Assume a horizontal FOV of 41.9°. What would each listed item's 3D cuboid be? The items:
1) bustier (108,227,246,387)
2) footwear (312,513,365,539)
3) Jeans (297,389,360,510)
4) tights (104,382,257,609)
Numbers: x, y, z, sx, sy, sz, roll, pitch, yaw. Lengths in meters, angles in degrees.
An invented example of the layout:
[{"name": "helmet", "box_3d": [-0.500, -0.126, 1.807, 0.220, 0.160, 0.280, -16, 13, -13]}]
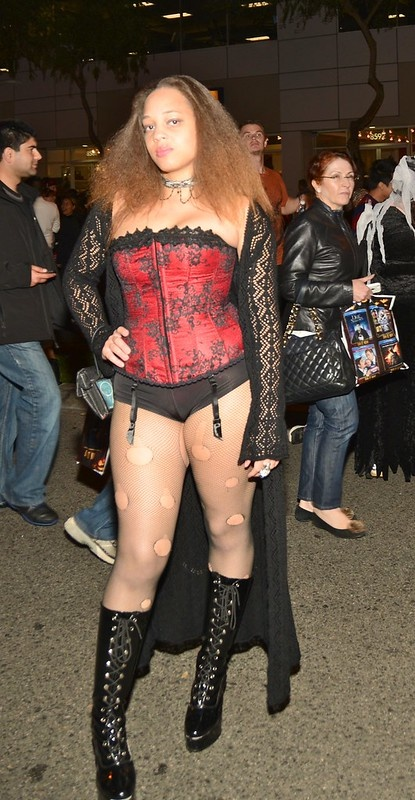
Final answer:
[{"name": "bustier", "box_3d": [-0.082, -0.277, 1.409, 0.301, 0.399, 0.265, -1, 30, 6]}, {"name": "footwear", "box_3d": [0.900, 0.869, 3.713, 0.289, 0.137, 0.140, 23, 21, 29]}, {"name": "Jeans", "box_3d": [0.840, 0.266, 3.756, 0.283, 1.017, 0.410, 13, -17, -21]}, {"name": "tights", "box_3d": [-0.058, 0.276, 1.490, 0.412, 0.785, 0.256, 0, 3, 1]}]
